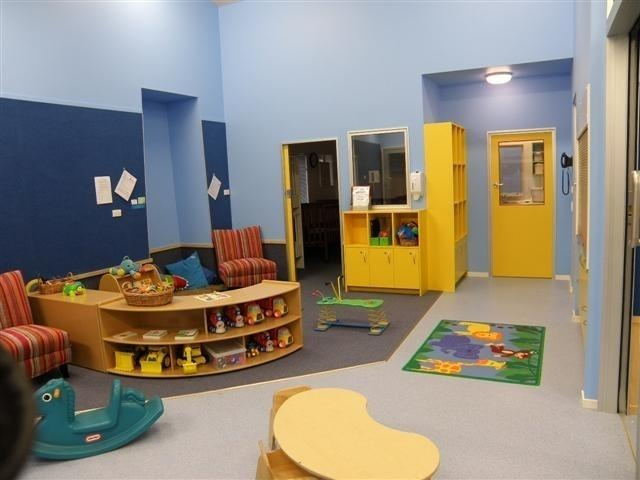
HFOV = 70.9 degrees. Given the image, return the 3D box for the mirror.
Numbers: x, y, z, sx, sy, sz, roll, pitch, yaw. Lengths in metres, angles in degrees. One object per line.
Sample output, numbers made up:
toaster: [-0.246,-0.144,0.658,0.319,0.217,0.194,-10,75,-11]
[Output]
mirror: [0.985,-1.163,7.128,1.294,1.684,0.078,0,6,26]

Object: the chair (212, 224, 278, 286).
chair: [-1.240,0.319,7.792,1.116,1.153,0.944,-5,4,-30]

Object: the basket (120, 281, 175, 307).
basket: [-1.778,0.564,4.652,0.531,0.212,0.332,0,10,16]

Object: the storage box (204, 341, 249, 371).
storage box: [-0.959,1.165,4.632,0.288,0.156,0.297,-4,7,-13]

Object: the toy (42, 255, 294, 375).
toy: [-1.400,0.930,4.816,1.429,0.439,1.372,2,5,33]

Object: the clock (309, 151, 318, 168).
clock: [-0.149,-1.821,10.049,0.053,0.400,0.353,0,0,-37]

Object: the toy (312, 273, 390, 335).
toy: [0.419,0.873,5.858,0.750,0.526,0.440,1,12,15]

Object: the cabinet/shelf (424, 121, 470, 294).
cabinet/shelf: [2.002,-0.537,7.192,0.487,2.559,0.938,3,11,30]

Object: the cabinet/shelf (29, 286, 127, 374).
cabinet/shelf: [-2.550,0.851,5.047,1.256,0.966,0.705,6,12,28]

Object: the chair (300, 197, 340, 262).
chair: [0.032,-0.278,10.214,0.766,1.129,1.445,0,4,10]

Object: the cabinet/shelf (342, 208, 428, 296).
cabinet/shelf: [1.044,0.215,7.006,1.328,1.347,0.487,0,0,22]
